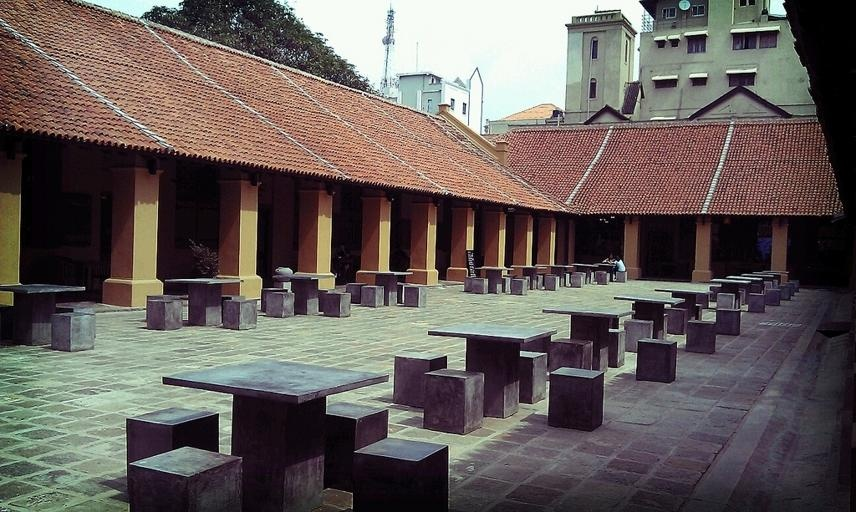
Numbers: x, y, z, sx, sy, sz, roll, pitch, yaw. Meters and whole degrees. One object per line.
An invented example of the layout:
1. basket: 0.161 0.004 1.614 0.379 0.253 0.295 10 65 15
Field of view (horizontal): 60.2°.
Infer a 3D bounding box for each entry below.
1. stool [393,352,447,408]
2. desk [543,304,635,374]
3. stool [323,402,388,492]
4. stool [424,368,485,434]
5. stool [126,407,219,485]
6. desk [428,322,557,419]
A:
1. stool: -0.157 2.057 12.123 0.864 0.808 0.819 -2 -11 22
2. desk: 3.067 1.573 14.396 1.351 1.196 1.323 0 -3 23
3. stool: -1.081 2.516 10.008 0.989 0.933 0.975 3 5 16
4. stool: 0.352 2.179 11.366 0.917 0.863 0.903 2 3 16
5. stool: -3.217 2.382 9.391 0.824 0.742 0.816 4 6 27
6. desk: 1.127 1.739 12.020 1.558 1.260 1.557 0 -1 29
